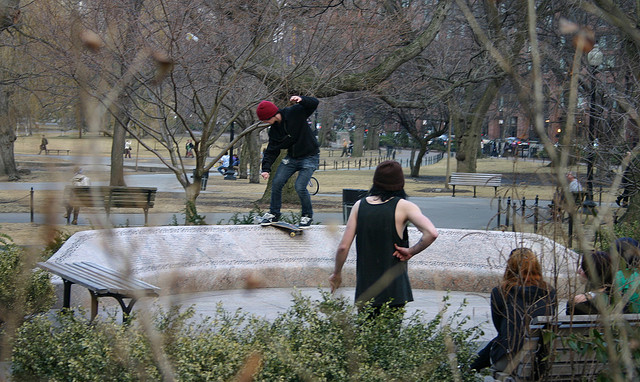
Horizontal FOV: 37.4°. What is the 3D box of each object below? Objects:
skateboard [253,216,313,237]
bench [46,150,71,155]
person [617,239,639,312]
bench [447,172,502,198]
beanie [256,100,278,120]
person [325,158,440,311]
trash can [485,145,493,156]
[{"bbox_3d":[-0.697,0.716,18.400,0.831,0.126,0.211,14,13,13],"label":"skateboard"},{"bbox_3d":[-3.325,-0.496,12.008,0.251,0.072,1.219,-1,2,-16],"label":"bench"},{"bbox_3d":[4.546,1.331,13.930,0.318,1.170,2.414,1,2,18],"label":"person"},{"bbox_3d":[5.776,-0.211,35.213,1.895,0.746,0.659,2,5,9],"label":"bench"},{"bbox_3d":[-0.991,-1.507,17.484,0.390,0.290,0.295,-39,32,-17],"label":"beanie"},{"bbox_3d":[0.968,0.699,14.571,1.529,2.337,0.477,0,2,5],"label":"person"},{"bbox_3d":[14.959,-3.644,83.691,0.656,0.906,1.421,0,2,10],"label":"trash can"}]
